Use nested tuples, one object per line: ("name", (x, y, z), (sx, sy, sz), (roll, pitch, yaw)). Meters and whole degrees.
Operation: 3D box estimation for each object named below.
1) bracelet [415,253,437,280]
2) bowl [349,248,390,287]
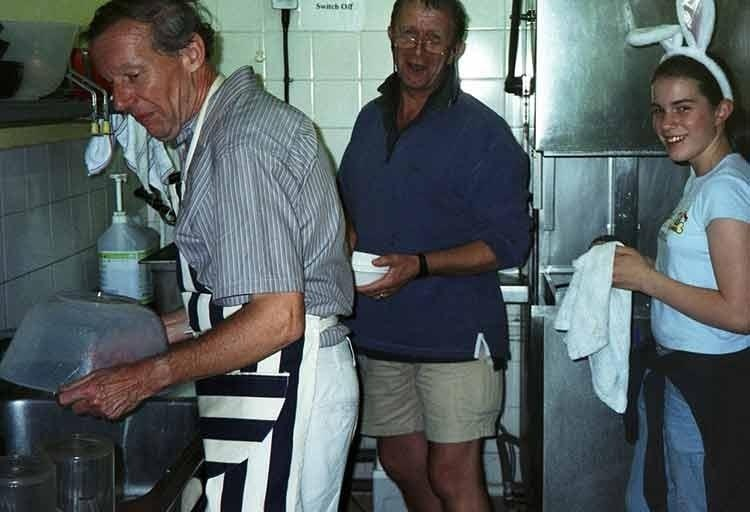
("bracelet", (0.140, 0.029, 1.975), (0.040, 0.057, 0.063), (-1, 22, 6))
("bowl", (-0.016, 0.036, 1.919), (0.090, 0.066, 0.084), (0, 2, 0))
